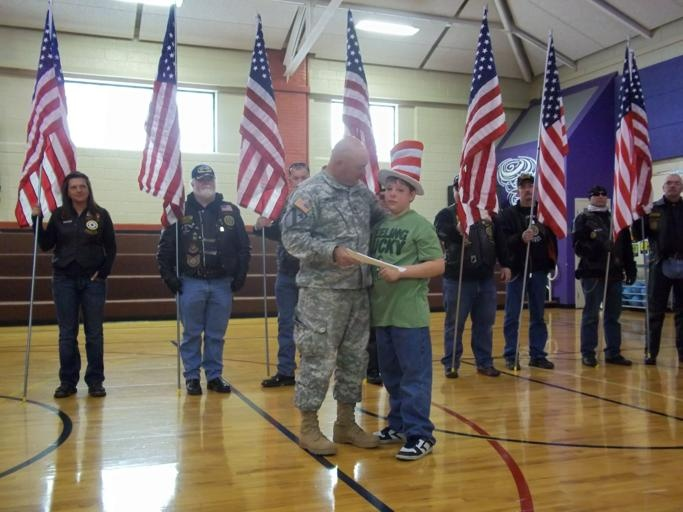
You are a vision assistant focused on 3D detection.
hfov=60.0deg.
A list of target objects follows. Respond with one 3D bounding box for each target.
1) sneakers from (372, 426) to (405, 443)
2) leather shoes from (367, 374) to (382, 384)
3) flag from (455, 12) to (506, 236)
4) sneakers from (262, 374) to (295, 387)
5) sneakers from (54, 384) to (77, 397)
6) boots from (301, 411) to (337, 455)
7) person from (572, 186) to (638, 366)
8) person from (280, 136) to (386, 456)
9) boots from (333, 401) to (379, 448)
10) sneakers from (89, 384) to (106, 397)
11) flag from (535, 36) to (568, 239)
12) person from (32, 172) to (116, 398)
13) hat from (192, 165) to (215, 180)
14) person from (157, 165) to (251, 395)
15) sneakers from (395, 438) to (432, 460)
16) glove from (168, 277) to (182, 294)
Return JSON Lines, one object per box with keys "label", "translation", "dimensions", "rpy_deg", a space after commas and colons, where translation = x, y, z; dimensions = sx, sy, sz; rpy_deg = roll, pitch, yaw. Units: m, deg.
{"label": "sneakers", "translation": [0.340, 1.313, 4.337], "dimensions": [0.239, 0.104, 0.090], "rpy_deg": [4, -7, -3]}
{"label": "leather shoes", "translation": [0.317, 1.252, 5.931], "dimensions": [0.063, 0.123, 0.172], "rpy_deg": [4, -10, -33]}
{"label": "flag", "translation": [1.415, -1.362, 6.027], "dimensions": [0.458, 2.294, 0.527], "rpy_deg": [0, 3, 15]}
{"label": "sneakers", "translation": [-0.621, 1.240, 5.803], "dimensions": [0.357, 0.163, 0.122], "rpy_deg": [3, -5, -2]}
{"label": "sneakers", "translation": [-2.538, 1.235, 5.429], "dimensions": [0.200, 0.101, 0.187], "rpy_deg": [-2, 4, -31]}
{"label": "boots", "translation": [-0.169, 1.240, 4.162], "dimensions": [0.153, 0.294, 0.369], "rpy_deg": [9, -7, -44]}
{"label": "person", "translation": [3.007, 0.220, 6.800], "dimensions": [0.690, 2.029, 0.549], "rpy_deg": [-2, 3, -29]}
{"label": "person", "translation": [-0.056, 0.275, 4.112], "dimensions": [0.696, 2.208, 0.462], "rpy_deg": [-1, 3, -14]}
{"label": "boots", "translation": [0.110, 1.226, 4.292], "dimensions": [0.368, 0.307, 0.167], "rpy_deg": [1, -6, 25]}
{"label": "sneakers", "translation": [-2.263, 1.239, 5.427], "dimensions": [0.175, 0.106, 0.156], "rpy_deg": [-1, 3, -5]}
{"label": "flag", "translation": [2.251, -1.297, 6.358], "dimensions": [0.294, 2.220, 0.506], "rpy_deg": [1, 3, 19]}
{"label": "person", "translation": [-2.466, 0.259, 5.495], "dimensions": [0.692, 2.064, 0.409], "rpy_deg": [-1, 3, -12]}
{"label": "hat", "translation": [-1.340, -0.819, 5.653], "dimensions": [0.169, 0.135, 0.229], "rpy_deg": [0, -3, -25]}
{"label": "person", "translation": [-1.296, 0.218, 5.601], "dimensions": [0.859, 2.145, 0.392], "rpy_deg": [-1, 3, -17]}
{"label": "sneakers", "translation": [0.486, 1.325, 4.073], "dimensions": [0.283, 0.115, 0.102], "rpy_deg": [6, -10, -44]}
{"label": "glove", "translation": [-1.554, 0.281, 5.457], "dimensions": [0.111, 0.153, 0.047], "rpy_deg": [-13, -1, -28]}
